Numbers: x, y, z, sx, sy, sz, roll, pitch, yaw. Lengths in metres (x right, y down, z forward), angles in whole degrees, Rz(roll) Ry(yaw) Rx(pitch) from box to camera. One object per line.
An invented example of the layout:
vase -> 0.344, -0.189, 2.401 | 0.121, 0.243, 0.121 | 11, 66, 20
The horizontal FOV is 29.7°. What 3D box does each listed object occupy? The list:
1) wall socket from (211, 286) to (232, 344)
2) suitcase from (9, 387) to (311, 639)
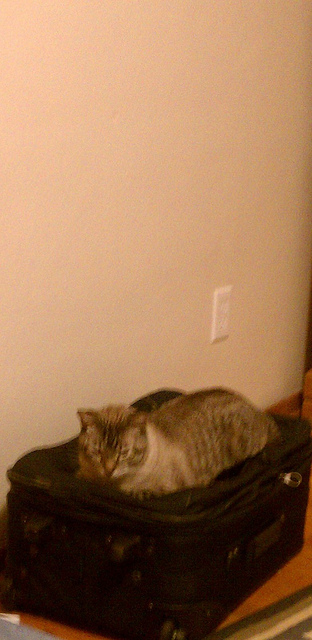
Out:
wall socket -> 0.136, -0.008, 1.193 | 0.012, 0.106, 0.055 | 8, -8, -27
suitcase -> 0.011, 0.376, 1.184 | 0.427, 0.246, 0.576 | 3, 6, 32
